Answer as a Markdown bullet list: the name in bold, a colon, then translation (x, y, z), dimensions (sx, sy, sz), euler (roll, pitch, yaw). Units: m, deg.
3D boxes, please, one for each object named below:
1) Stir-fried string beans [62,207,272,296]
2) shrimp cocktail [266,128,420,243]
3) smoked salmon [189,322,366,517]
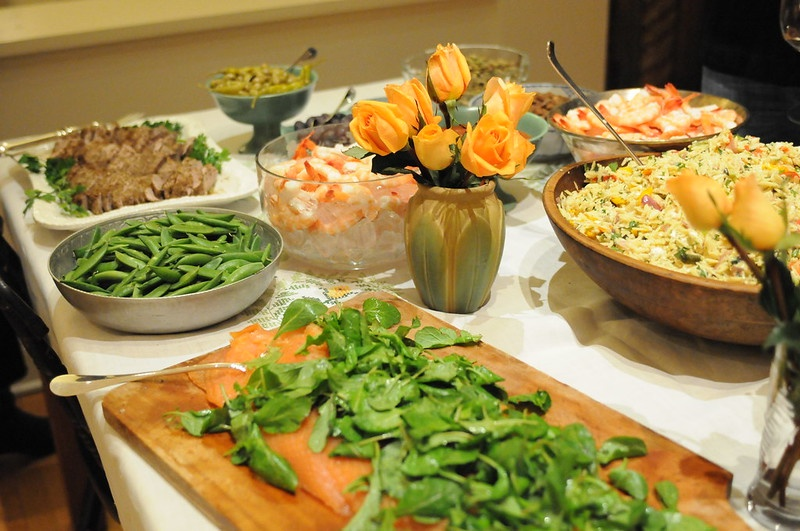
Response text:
- **Stir-fried string beans**: translation (-0.587, -0.073, 1.515), dimensions (0.486, 0.189, 0.408), euler (-18, 28, -33)
- **shrimp cocktail**: translation (-0.174, -0.248, 1.628), dimensions (0.415, 0.246, 0.361), euler (-16, 30, -30)
- **smoked salmon**: translation (-0.228, 0.275, 1.134), dimensions (0.237, 0.064, 0.426), euler (-34, 68, -8)
